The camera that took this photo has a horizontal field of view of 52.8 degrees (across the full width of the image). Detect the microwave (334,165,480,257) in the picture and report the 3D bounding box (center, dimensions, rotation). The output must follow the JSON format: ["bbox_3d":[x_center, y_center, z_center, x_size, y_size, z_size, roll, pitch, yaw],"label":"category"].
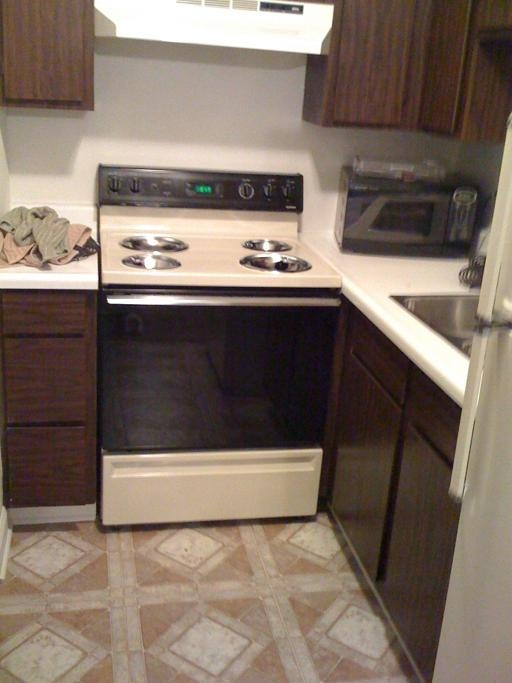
[{"bbox_3d":[0.564,-0.487,1.911,0.501,0.323,0.205,3,21,-1],"label":"microwave"}]
